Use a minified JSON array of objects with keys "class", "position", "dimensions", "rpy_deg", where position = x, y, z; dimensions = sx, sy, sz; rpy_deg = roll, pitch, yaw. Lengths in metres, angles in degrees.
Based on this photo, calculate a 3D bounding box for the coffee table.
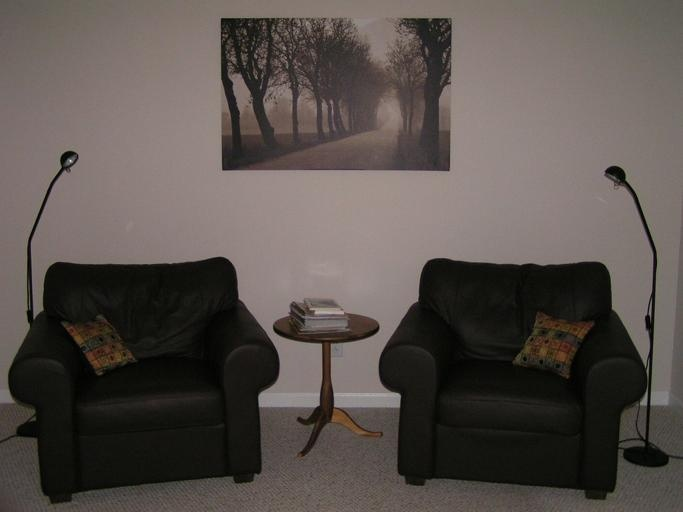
[{"class":"coffee table","position":[-0.099,0.754,4.073],"dimensions":[0.783,0.890,0.755],"rpy_deg":[0,8,0]}]

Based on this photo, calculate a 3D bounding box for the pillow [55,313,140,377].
[{"class":"pillow","position":[-1.409,0.504,3.613],"dimensions":[0.096,0.330,0.324],"rpy_deg":[-36,-5,25]}]

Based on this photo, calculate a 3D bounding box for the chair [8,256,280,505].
[{"class":"chair","position":[-1.123,0.663,3.712],"dimensions":[1.372,1.131,0.886],"rpy_deg":[-3,14,-8]}]

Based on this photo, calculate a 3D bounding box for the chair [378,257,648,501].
[{"class":"chair","position":[0.998,0.632,3.907],"dimensions":[1.607,1.409,1.208],"rpy_deg":[1,5,11]}]
